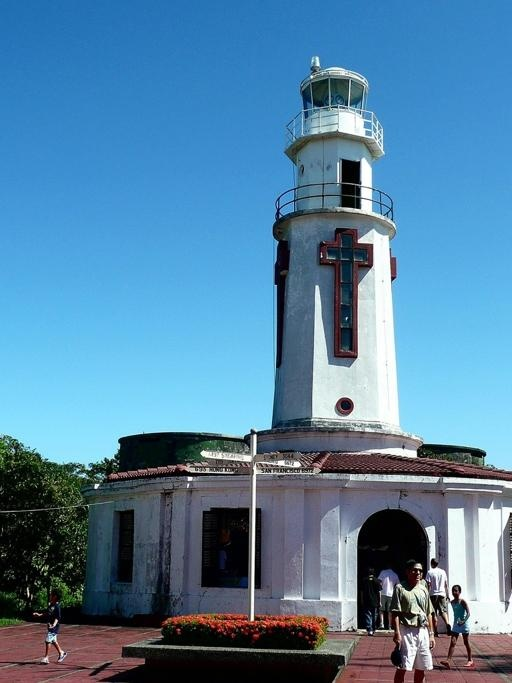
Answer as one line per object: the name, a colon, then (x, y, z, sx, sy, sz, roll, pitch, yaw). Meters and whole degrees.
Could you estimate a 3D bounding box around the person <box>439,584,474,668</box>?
person: (3.678, 5.213, 13.050, 0.501, 1.356, 2.066, -4, -16, 15)

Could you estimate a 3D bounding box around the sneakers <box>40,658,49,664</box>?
sneakers: (-3.659, 5.587, 12.333, 0.128, 0.100, 0.351, 4, -16, -15)

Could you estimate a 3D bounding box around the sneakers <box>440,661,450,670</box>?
sneakers: (3.246, 5.554, 12.124, 0.067, 0.090, 0.208, 7, -4, 1)
